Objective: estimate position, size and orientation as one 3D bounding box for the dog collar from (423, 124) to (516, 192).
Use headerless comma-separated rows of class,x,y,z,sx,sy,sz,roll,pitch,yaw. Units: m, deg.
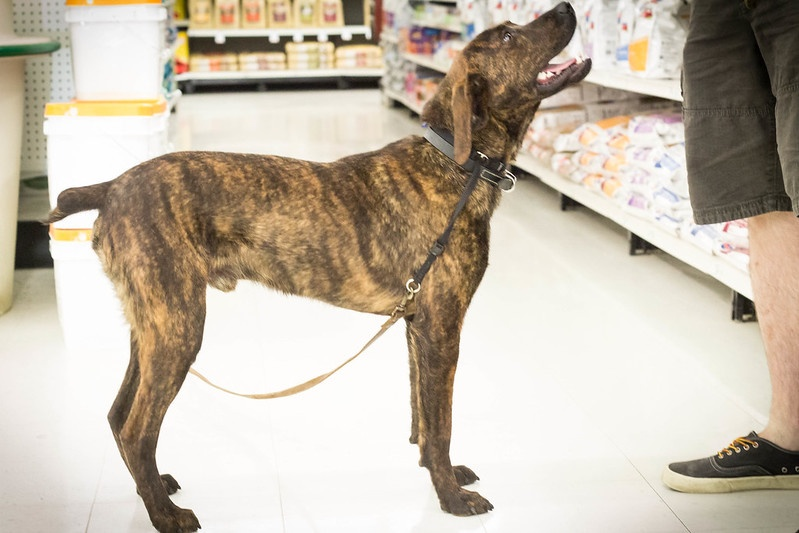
dog collar,0.253,-0.384,2.392,0.290,0.080,0.224,36,1,6
